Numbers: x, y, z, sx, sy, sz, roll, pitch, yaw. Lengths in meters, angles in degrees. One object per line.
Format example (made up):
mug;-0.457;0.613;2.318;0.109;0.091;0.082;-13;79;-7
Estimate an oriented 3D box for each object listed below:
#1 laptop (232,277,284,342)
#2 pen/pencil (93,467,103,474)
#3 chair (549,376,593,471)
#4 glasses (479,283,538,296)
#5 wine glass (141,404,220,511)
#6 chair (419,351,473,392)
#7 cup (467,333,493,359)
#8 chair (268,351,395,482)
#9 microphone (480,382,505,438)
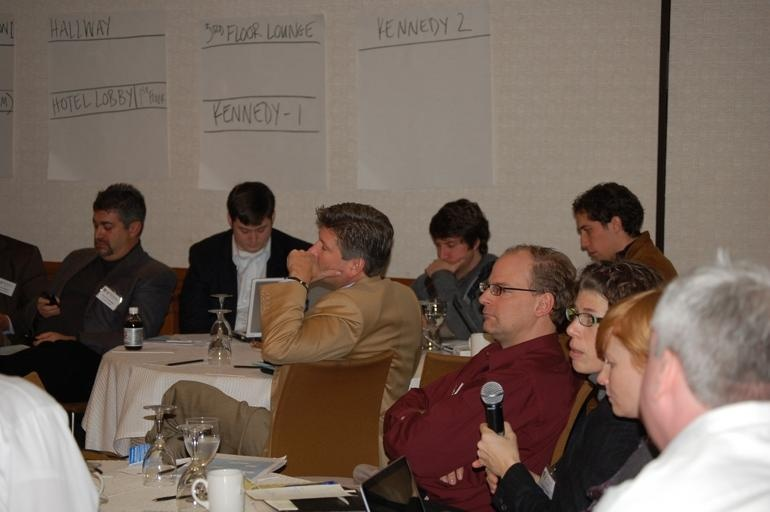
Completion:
laptop;-0.641;0.280;3.784;0.217;0.283;0.285;11;9;17
pen/pencil;-0.960;0.712;2.512;0.024;0.006;0.023;10;5;-7
chair;0.703;0.632;2.812;0.155;0.329;0.344;0;-2;12
glasses;0.480;0.131;3.025;0.107;0.055;0.264;3;-3;-41
wine glass;-0.703;0.701;2.579;0.114;0.262;0.277;3;-2;-45
chair;0.293;0.582;3.626;0.212;0.232;0.204;1;3;-23
cup;0.464;0.435;3.699;0.110;0.112;0.100;-1;-3;6
chair;-0.256;0.643;3.246;0.438;0.765;0.530;2;0;-19
microphone;0.377;0.528;2.626;0.076;0.178;0.094;0;-2;11
